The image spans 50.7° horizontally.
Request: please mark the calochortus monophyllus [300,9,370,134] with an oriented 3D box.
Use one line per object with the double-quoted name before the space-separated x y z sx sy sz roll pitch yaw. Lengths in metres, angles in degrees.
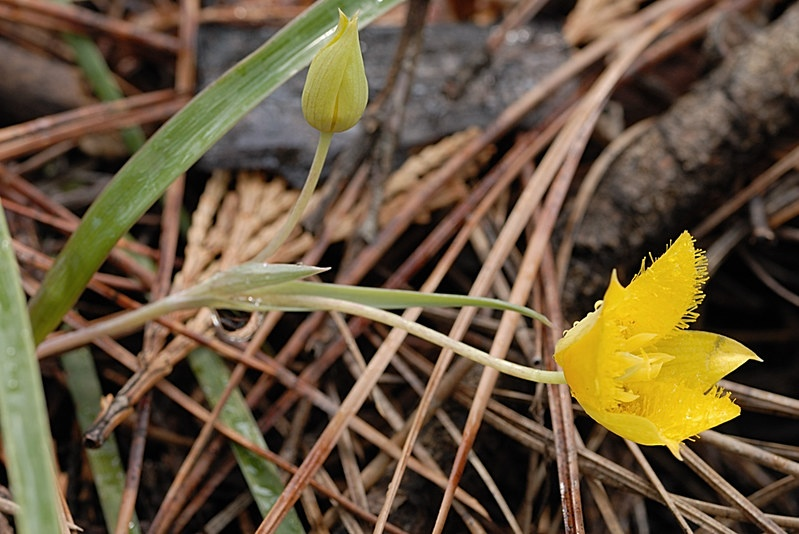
"calochortus monophyllus" -0.109 -0.346 1.486 0.113 0.242 0.103 11 -10 -28
